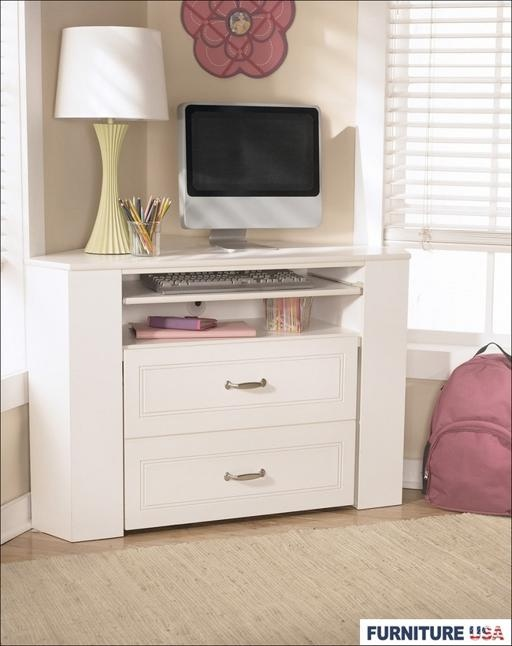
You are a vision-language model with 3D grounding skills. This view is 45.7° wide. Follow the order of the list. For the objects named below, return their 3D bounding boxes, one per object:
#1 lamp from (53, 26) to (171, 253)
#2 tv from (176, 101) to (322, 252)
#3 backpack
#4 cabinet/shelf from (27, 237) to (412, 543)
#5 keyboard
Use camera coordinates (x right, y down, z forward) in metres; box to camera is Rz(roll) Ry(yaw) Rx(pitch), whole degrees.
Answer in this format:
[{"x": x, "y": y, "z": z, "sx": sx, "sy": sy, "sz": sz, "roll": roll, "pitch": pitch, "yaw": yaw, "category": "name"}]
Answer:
[{"x": -0.401, "y": -0.506, "z": 1.704, "sx": 0.302, "sy": 0.624, "sz": 0.209, "roll": 0, "pitch": 7, "yaw": -11, "category": "lamp"}, {"x": -0.021, "y": -0.464, "z": 1.878, "sx": 0.545, "sy": 0.517, "sz": 0.277, "roll": -2, "pitch": 4, "yaw": -21, "category": "tv"}, {"x": 0.654, "y": 0.330, "z": 1.882, "sx": 0.249, "sy": 0.478, "sz": 0.313, "roll": 3, "pitch": 7, "yaw": 16, "category": "backpack"}, {"x": -0.066, "y": 0.170, "z": 1.837, "sx": 1.076, "sy": 0.726, "sz": 0.362, "roll": -2, "pitch": 8, "yaw": -17, "category": "cabinet/shelf"}, {"x": -0.083, "y": -0.123, "z": 1.748, "sx": 0.439, "sy": 0.062, "sz": 0.260, "roll": -1, "pitch": 8, "yaw": -22, "category": "keyboard"}]
